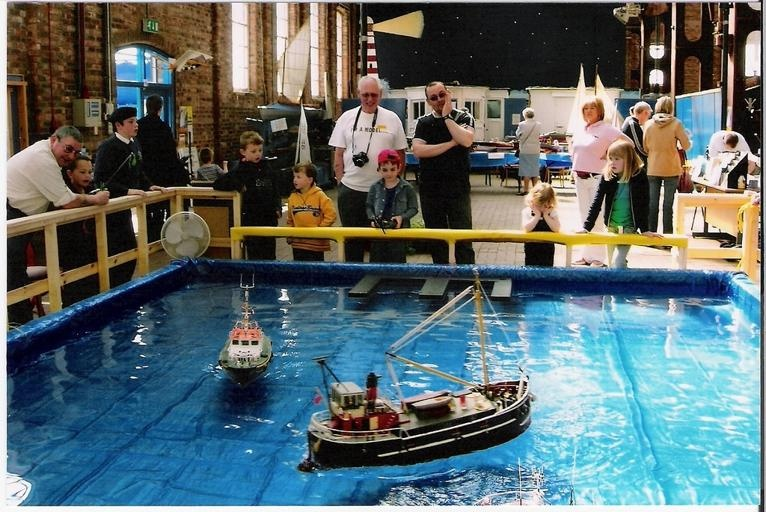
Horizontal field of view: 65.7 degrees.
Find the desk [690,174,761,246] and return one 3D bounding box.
[{"bbox_3d":[4.480,-0.593,7.656,0.791,0.699,1.156,1,8,6],"label":"desk"}]

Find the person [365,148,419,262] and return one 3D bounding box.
[{"bbox_3d":[0.105,-0.478,5.916,0.499,1.153,0.444,-9,15,-25],"label":"person"}]

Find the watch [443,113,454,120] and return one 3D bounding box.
[{"bbox_3d":[0.686,-1.414,5.997,0.082,0.035,0.113,-24,13,-32],"label":"watch"}]

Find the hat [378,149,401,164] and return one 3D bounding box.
[{"bbox_3d":[0.063,-0.959,5.755,0.192,0.141,0.167,-2,13,-2],"label":"hat"}]

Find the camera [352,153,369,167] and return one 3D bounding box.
[{"bbox_3d":[-0.216,-0.973,5.987,0.130,0.140,0.158,3,2,5],"label":"camera"}]

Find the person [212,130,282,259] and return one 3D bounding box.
[{"bbox_3d":[-1.365,-0.641,6.327,0.617,1.332,0.740,-12,17,-34],"label":"person"}]

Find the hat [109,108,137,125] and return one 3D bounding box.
[{"bbox_3d":[-2.688,-1.450,6.097,0.222,0.171,0.396,-8,14,-25],"label":"hat"}]

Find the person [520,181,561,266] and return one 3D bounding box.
[{"bbox_3d":[1.620,-0.305,6.002,0.352,0.842,0.513,2,14,14],"label":"person"}]

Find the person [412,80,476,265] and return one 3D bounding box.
[{"bbox_3d":[0.630,-1.006,6.057,0.596,1.476,0.375,0,14,7],"label":"person"}]

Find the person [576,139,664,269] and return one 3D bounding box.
[{"bbox_3d":[2.474,-0.484,6.084,0.710,1.369,0.632,-13,17,-38],"label":"person"}]

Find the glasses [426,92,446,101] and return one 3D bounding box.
[{"bbox_3d":[0.553,-1.586,5.913,0.180,0.064,0.073,-3,13,-4],"label":"glasses"}]

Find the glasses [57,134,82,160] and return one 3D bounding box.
[{"bbox_3d":[-2.549,-0.873,4.819,0.167,0.141,0.193,-4,3,-38],"label":"glasses"}]

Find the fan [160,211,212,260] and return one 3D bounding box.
[{"bbox_3d":[-2.020,-0.206,6.029,0.461,0.491,0.289,-6,14,-19],"label":"fan"}]

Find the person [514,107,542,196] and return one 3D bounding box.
[{"bbox_3d":[3.546,-2.510,14.236,0.524,1.971,1.514,1,14,14],"label":"person"}]
